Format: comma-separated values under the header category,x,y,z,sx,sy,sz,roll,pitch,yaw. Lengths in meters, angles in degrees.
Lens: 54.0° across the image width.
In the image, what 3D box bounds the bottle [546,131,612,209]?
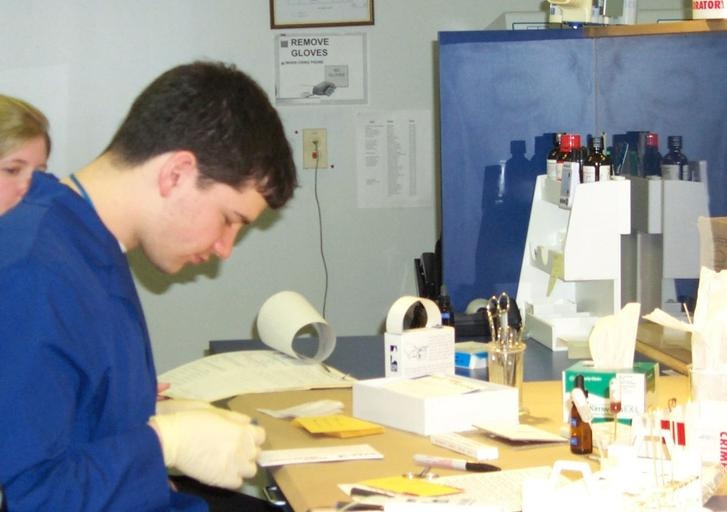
category,x,y,z,sx,sy,sz,roll,pitch,yaw
bottle,0.823,-0.351,2.745,0.211,0.339,0.202,2,13,0

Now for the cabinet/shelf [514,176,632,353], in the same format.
category,x,y,z,sx,sy,sz,roll,pitch,yaw
cabinet/shelf,0.801,0.039,2.686,0.254,0.638,0.662,0,3,-2

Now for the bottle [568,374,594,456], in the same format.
category,x,y,z,sx,sy,sz,roll,pitch,yaw
bottle,0.478,0.381,1.680,0.081,0.170,0.118,-2,7,20

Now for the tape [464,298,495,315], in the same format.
category,x,y,z,sx,sy,sz,roll,pitch,yaw
tape,0.518,0.225,3.207,0.130,0.092,0.148,-8,0,-9
